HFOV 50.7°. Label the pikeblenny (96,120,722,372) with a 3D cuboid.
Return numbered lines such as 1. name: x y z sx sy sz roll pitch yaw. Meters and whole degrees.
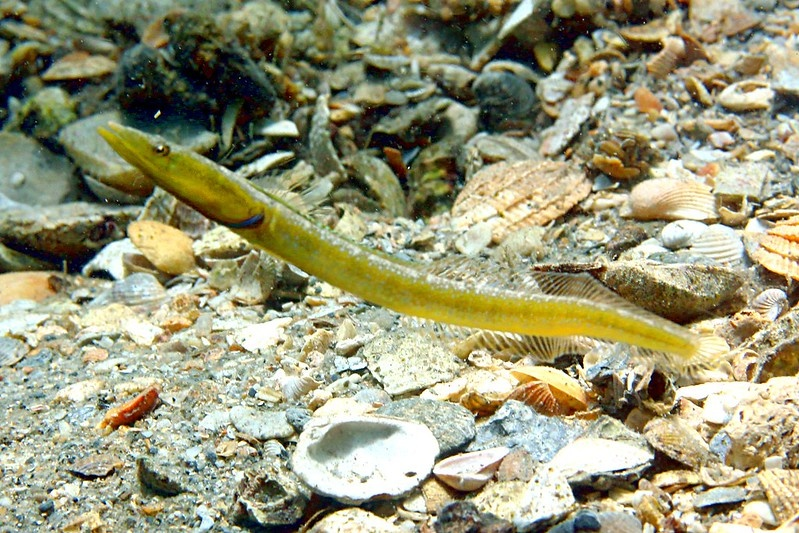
1. pikeblenny: 0.056 -0.097 5.651 4.391 0.793 0.838 21 33 5
